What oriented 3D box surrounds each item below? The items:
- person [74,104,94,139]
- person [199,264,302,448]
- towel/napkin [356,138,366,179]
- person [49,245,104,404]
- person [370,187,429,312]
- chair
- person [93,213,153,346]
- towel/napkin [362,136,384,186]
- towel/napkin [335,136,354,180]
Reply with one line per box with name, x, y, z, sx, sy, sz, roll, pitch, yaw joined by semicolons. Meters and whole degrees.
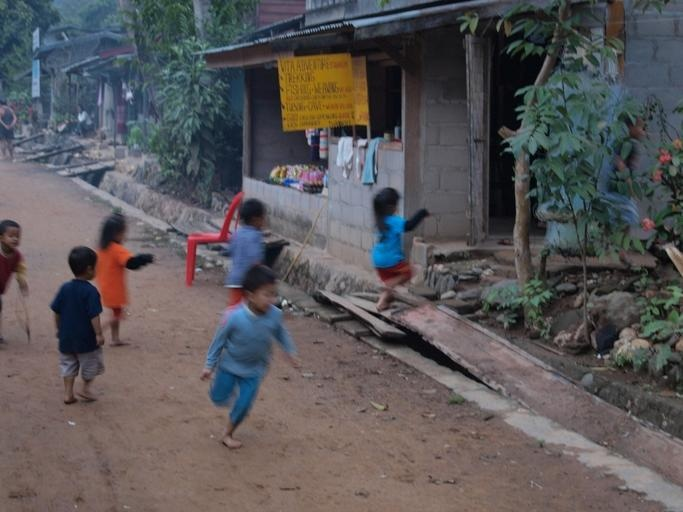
person;-13.398;-7.014;34.181;0.927;1.096;2.100;-8;54;-24
person;-0.847;0.837;5.931;0.784;1.536;0.274;1;12;-3
towel/napkin;0.329;-1.663;11.155;0.109;0.509;0.348;4;1;-18
person;-2.713;0.714;6.754;0.474;1.587;0.528;-4;13;-25
person;0.849;-0.080;9.218;0.648;1.853;0.862;-21;37;-28
chair;-2.366;-0.281;11.988;1.000;1.598;0.889;0;3;-4
person;-2.707;0.345;7.995;0.851;1.717;0.439;12;16;41
towel/napkin;0.496;-1.579;10.955;0.204;0.798;0.437;-7;15;-35
towel/napkin;0.058;-1.731;11.640;0.194;0.779;0.670;-5;12;-20
